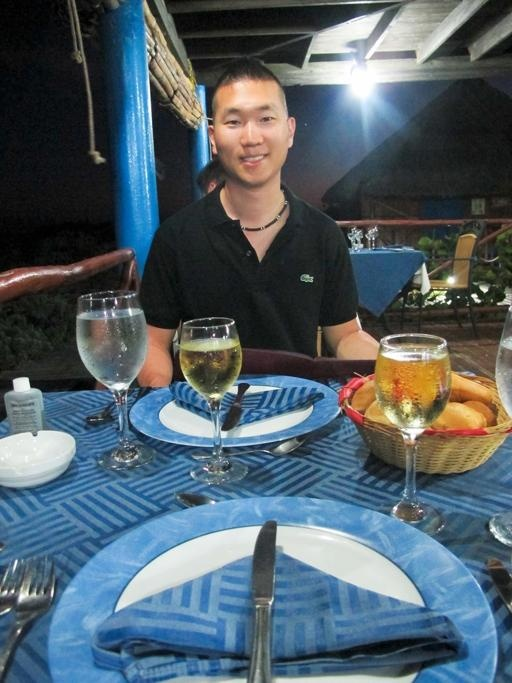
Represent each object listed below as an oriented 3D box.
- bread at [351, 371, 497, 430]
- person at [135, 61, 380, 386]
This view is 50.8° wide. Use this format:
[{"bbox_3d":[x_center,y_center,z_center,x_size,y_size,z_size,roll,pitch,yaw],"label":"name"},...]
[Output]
[{"bbox_3d":[0.233,0.088,0.707,0.116,0.034,0.106,0,13,-6],"label":"bread"},{"bbox_3d":[-0.021,-0.395,1.767,0.725,0.909,0.376,-3,8,-12],"label":"person"}]
